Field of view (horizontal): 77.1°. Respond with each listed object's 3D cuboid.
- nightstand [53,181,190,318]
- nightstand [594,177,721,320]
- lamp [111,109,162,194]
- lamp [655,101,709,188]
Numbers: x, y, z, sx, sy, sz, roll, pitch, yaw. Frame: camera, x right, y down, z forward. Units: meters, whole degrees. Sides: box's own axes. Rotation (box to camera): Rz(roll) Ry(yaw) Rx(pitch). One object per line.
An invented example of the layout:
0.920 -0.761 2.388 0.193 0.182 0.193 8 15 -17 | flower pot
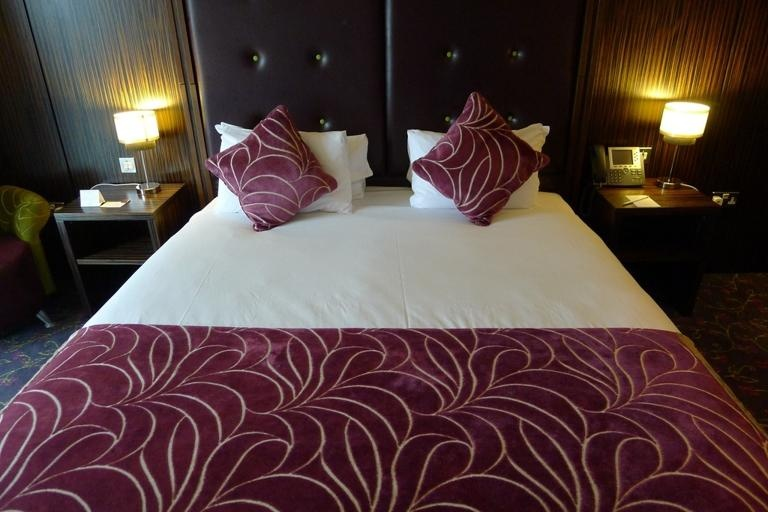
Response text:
-1.702 -0.075 3.225 0.596 0.652 0.657 -8 26 -18 | nightstand
1.584 -0.067 2.825 0.580 0.856 0.569 -2 35 4 | nightstand
-1.538 -0.649 3.065 0.231 0.532 0.245 -3 27 -10 | lamp
1.830 -0.707 2.977 0.229 0.541 0.245 -23 40 -25 | lamp
